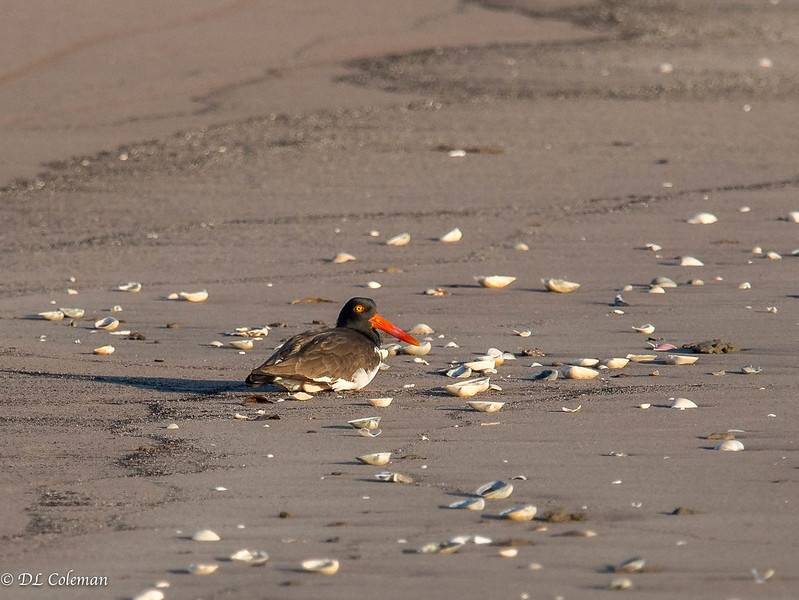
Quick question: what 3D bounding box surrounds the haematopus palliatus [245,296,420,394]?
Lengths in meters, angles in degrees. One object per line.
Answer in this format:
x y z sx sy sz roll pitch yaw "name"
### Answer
-0.797 0.502 17.647 2.050 0.902 0.931 -13 27 -37 "haematopus palliatus"
